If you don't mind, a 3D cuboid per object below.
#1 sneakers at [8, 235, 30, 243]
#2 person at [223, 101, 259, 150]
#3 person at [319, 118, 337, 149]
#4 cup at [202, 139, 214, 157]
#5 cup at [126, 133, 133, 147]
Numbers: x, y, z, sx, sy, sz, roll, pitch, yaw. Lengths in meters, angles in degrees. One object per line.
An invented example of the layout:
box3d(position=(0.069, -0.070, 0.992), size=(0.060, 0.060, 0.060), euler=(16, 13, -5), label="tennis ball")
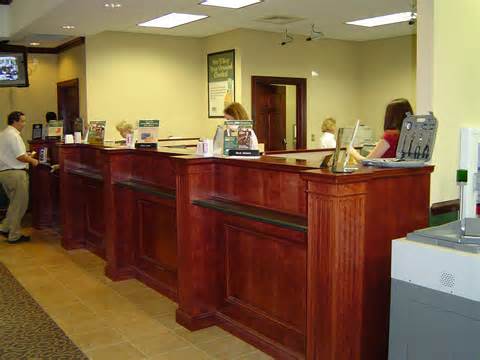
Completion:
box3d(position=(-3.635, 0.965, 6.100), size=(0.339, 0.140, 0.121), euler=(-6, 15, -38), label="sneakers")
box3d(position=(0.000, -0.636, 4.150), size=(0.338, 0.524, 0.990), euler=(-1, 8, -3), label="person")
box3d(position=(1.831, -0.951, 7.646), size=(0.351, 0.673, 0.713), euler=(2, 11, -3), label="person")
box3d(position=(-0.300, -0.304, 3.419), size=(0.095, 0.148, 0.099), euler=(-1, 7, 0), label="cup")
box3d(position=(-1.407, -0.508, 4.729), size=(0.075, 0.163, 0.198), euler=(-3, 8, -19), label="cup")
